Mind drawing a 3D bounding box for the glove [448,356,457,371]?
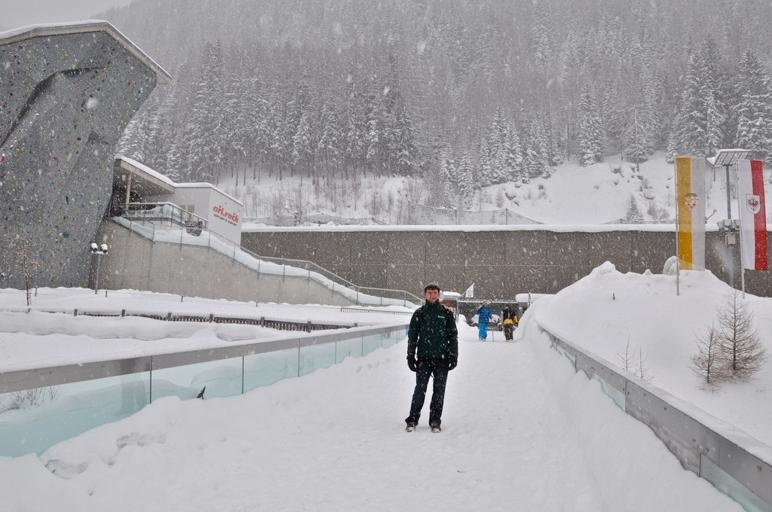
[{"bbox_3d":[3.038,4.850,30.737,0.403,0.565,0.614,0,82,1],"label":"glove"}]

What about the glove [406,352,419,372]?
[{"bbox_3d":[1.229,4.806,30.583,0.492,0.291,0.785,5,93,17],"label":"glove"}]

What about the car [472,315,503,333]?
[{"bbox_3d":[7.947,5.294,52.842,2.152,2.981,1.157,2,85,18],"label":"car"}]
